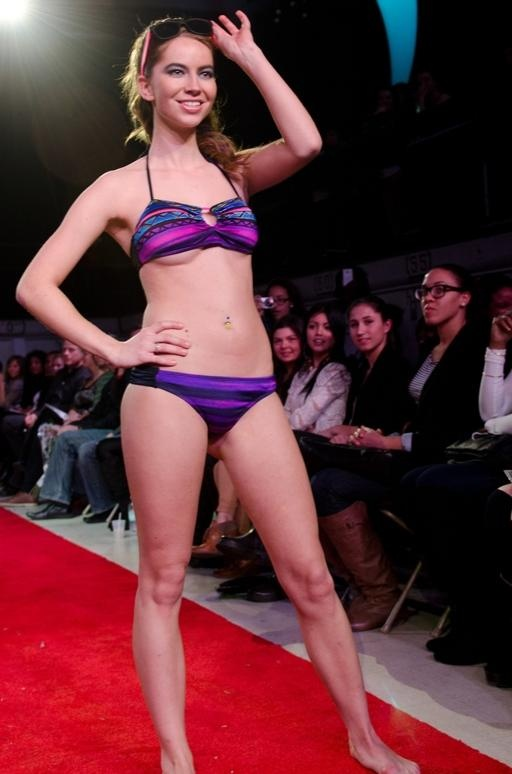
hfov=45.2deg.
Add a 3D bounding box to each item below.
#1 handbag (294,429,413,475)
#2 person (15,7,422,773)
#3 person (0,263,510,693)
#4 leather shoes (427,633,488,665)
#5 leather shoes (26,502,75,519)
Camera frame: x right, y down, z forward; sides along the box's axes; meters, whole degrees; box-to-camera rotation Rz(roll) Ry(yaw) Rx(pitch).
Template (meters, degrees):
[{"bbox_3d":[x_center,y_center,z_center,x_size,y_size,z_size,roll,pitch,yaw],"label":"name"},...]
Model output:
[{"bbox_3d":[0.401,0.290,2.606,0.304,0.088,0.225,3,1,40],"label":"handbag"},{"bbox_3d":[-0.098,0.000,1.306,0.753,1.692,0.476,-2,8,-20],"label":"person"},{"bbox_3d":[0.434,0.393,2.758,1.196,1.407,1.130,-4,-9,41],"label":"person"},{"bbox_3d":[0.676,0.886,2.112,0.097,0.078,0.236,8,-9,-32],"label":"leather shoes"},{"bbox_3d":[-1.877,1.102,5.434,0.511,0.193,0.165,5,-5,-17],"label":"leather shoes"}]
